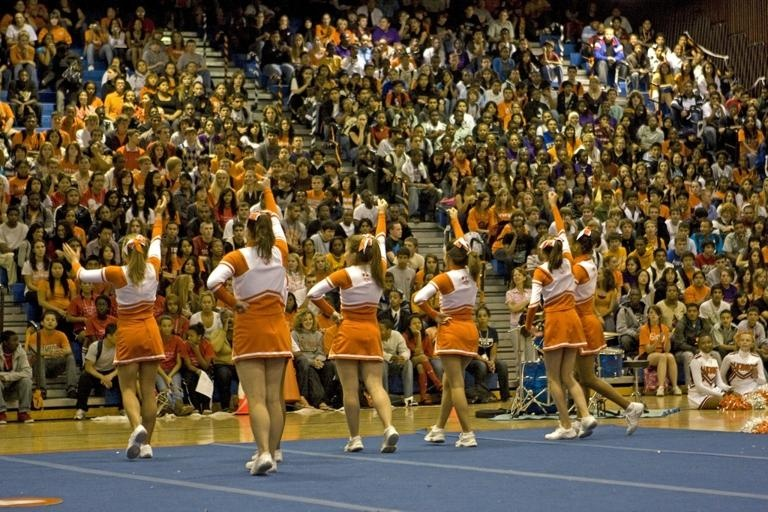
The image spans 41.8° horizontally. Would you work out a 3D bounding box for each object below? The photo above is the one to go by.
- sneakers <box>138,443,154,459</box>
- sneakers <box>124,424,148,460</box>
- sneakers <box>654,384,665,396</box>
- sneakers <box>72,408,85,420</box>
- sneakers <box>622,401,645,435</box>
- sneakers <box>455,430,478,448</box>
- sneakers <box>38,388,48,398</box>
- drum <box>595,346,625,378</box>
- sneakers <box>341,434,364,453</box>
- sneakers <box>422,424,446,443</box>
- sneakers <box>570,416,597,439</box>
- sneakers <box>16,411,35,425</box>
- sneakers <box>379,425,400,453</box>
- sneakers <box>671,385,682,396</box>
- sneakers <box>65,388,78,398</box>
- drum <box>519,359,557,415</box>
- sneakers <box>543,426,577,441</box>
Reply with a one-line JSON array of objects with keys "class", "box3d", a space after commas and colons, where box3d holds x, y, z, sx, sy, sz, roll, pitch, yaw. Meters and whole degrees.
[{"class": "sneakers", "box3d": [-3.193, 2.641, 13.541, 0.183, 0.230, 0.513, 1, -9, -13]}, {"class": "sneakers", "box3d": [-3.237, 2.477, 13.335, 0.191, 0.539, 0.221, 10, 19, -34]}, {"class": "sneakers", "box3d": [5.497, 2.717, 20.060, 0.094, 0.206, 0.284, 0, -27, 4]}, {"class": "sneakers", "box3d": [-5.363, 2.823, 17.879, 0.208, 0.192, 0.398, -2, -5, -18]}, {"class": "sneakers", "box3d": [3.748, 2.401, 15.142, 0.259, 0.659, 0.215, 3, 16, -1]}, {"class": "sneakers", "box3d": [1.162, 2.609, 14.285, 0.146, 0.211, 0.410, 0, -5, -20]}, {"class": "sneakers", "box3d": [-6.061, 2.484, 18.020, 0.056, 0.180, 0.398, -2, -5, -9]}, {"class": "drum", "box3d": [4.006, 1.853, 17.615, 0.461, 0.527, 0.481, -1, 1, 41]}, {"class": "sneakers", "box3d": [-0.416, 2.609, 13.965, 0.260, 0.230, 0.304, -3, -5, -3]}, {"class": "sneakers", "box3d": [0.741, 2.600, 14.611, 0.221, 0.250, 0.375, 1, -7, -41]}, {"class": "sneakers", "box3d": [2.917, 2.529, 14.720, 0.182, 0.220, 0.507, -18, -20, -12]}, {"class": "sneakers", "box3d": [-6.183, 2.809, 17.457, 0.362, 0.158, 0.126, -8, -9, 40]}, {"class": "sneakers", "box3d": [0.084, 2.517, 13.717, 0.171, 0.218, 0.469, 2, -40, -10]}, {"class": "sneakers", "box3d": [5.932, 2.718, 20.381, 0.181, 0.216, 0.380, -7, -6, 39]}, {"class": "sneakers", "box3d": [-5.580, 2.476, 18.097, 0.133, 0.156, 0.161, 0, -12, 2]}, {"class": "drum", "box3d": [2.669, 2.331, 17.678, 0.628, 0.969, 0.391, -4, -5, 8]}, {"class": "sneakers", "box3d": [2.599, 2.636, 14.837, 0.503, 0.239, 0.177, 0, -6, 11]}]
